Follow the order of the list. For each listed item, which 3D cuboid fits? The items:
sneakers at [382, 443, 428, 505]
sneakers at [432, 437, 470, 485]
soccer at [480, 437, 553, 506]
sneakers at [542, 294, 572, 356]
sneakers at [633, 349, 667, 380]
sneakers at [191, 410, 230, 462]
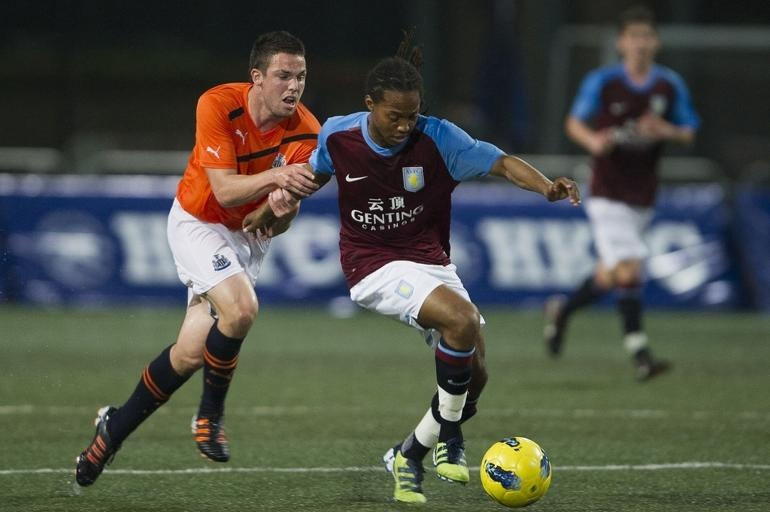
[{"bbox_3d":[0.113,1.475,6.794,0.146,0.197,0.431,-7,60,-40],"label":"sneakers"},{"bbox_3d":[0.439,1.397,6.856,0.235,0.379,0.265,-2,22,4],"label":"sneakers"},{"bbox_3d":[0.844,1.434,6.678,0.459,0.398,0.320,-1,22,6],"label":"soccer"},{"bbox_3d":[1.645,0.681,9.928,0.197,0.600,0.255,2,26,5],"label":"sneakers"},{"bbox_3d":[1.936,0.791,7.517,0.294,0.152,0.220,-7,22,-8],"label":"sneakers"},{"bbox_3d":[-1.219,1.288,7.032,0.235,0.390,0.227,-5,22,-4],"label":"sneakers"}]
